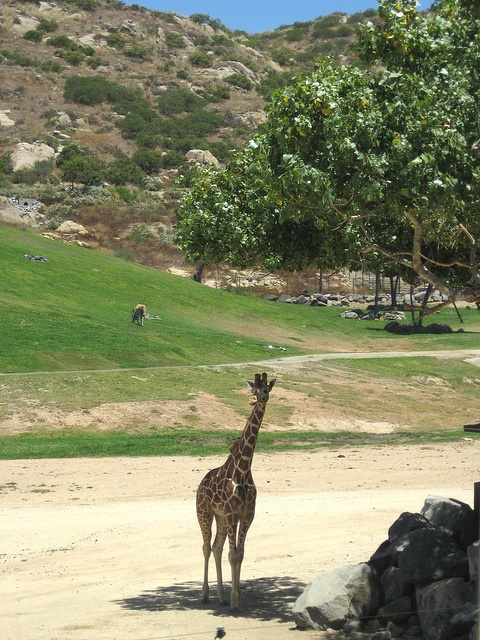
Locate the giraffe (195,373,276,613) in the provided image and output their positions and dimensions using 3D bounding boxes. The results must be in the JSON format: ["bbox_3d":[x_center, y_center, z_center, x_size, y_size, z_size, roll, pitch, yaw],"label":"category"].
[{"bbox_3d":[-0.136,3.110,22.081,0.771,4.011,1.238,4,1,-29],"label":"giraffe"}]
